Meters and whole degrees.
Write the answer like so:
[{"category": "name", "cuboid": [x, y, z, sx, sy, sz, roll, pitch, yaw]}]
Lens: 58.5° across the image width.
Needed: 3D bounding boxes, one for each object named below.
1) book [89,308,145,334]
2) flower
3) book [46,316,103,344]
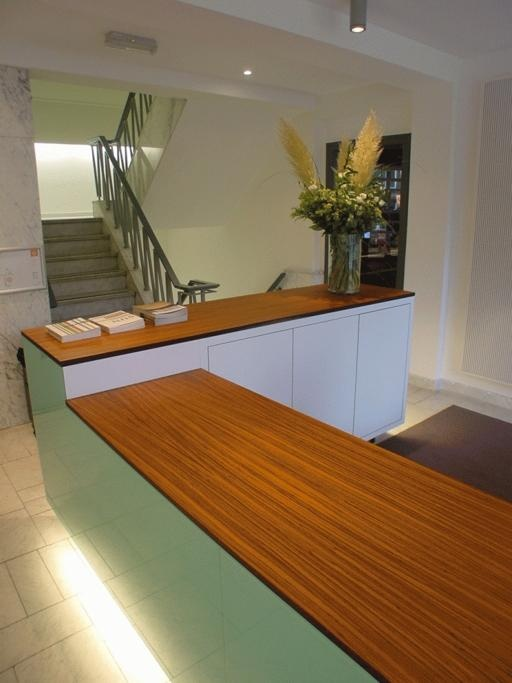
[{"category": "book", "cuboid": [-0.588, -0.080, 2.007, 0.145, 0.035, 0.148, -18, 30, -39]}, {"category": "flower", "cuboid": [0.501, -0.994, 2.774, 0.532, 0.666, 0.614, -5, 28, -7]}, {"category": "book", "cuboid": [-0.738, -0.042, 1.888, 0.134, 0.035, 0.145, -15, 27, -38]}]
